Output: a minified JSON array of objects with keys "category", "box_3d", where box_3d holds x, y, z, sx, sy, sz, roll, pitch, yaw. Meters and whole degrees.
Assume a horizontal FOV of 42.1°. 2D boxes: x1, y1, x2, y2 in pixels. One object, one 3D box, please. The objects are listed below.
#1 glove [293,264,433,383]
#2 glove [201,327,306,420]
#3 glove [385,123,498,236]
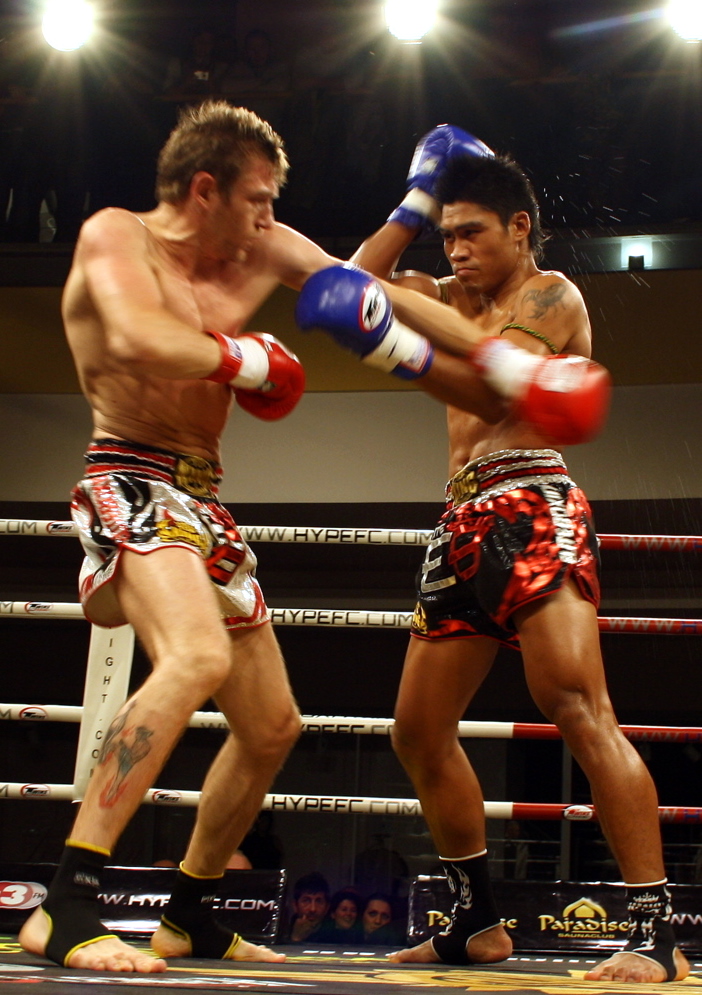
[{"category":"glove","box_3d":[0.017,-0.315,1.701,0.323,0.102,0.162,23,-22,-39]},{"category":"glove","box_3d":[-0.140,-0.227,1.671,0.217,0.086,0.149,20,8,30]},{"category":"glove","box_3d":[0.211,-0.826,2.304,0.328,0.130,0.351,7,11,-1]}]
